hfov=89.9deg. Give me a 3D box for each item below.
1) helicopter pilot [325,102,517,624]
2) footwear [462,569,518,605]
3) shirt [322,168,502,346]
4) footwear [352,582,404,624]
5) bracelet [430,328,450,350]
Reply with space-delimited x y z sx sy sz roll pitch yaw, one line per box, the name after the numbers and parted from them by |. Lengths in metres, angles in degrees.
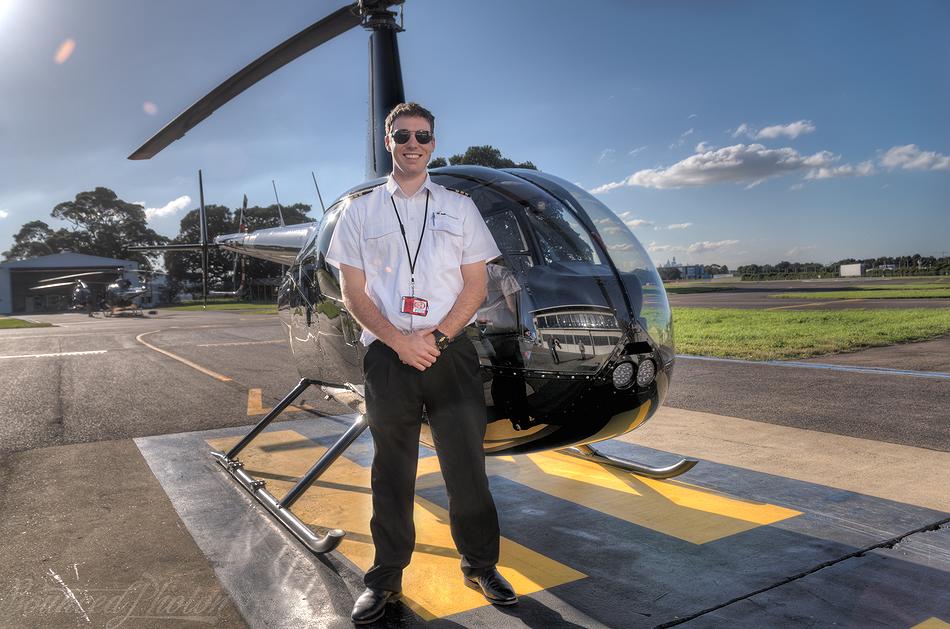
-0.257 0.219 2.788 0.907 2.484 1.093 -1 1 -8 | helicopter pilot
0.071 1.418 2.571 0.131 0.124 0.319 3 -3 -40 | footwear
-0.272 -0.296 2.514 1.220 0.935 0.403 -2 5 -5 | shirt
-0.493 1.474 2.495 0.114 0.118 0.297 -4 -9 26 | footwear
-0.169 0.121 2.359 0.079 0.111 0.109 -19 2 -30 | bracelet
